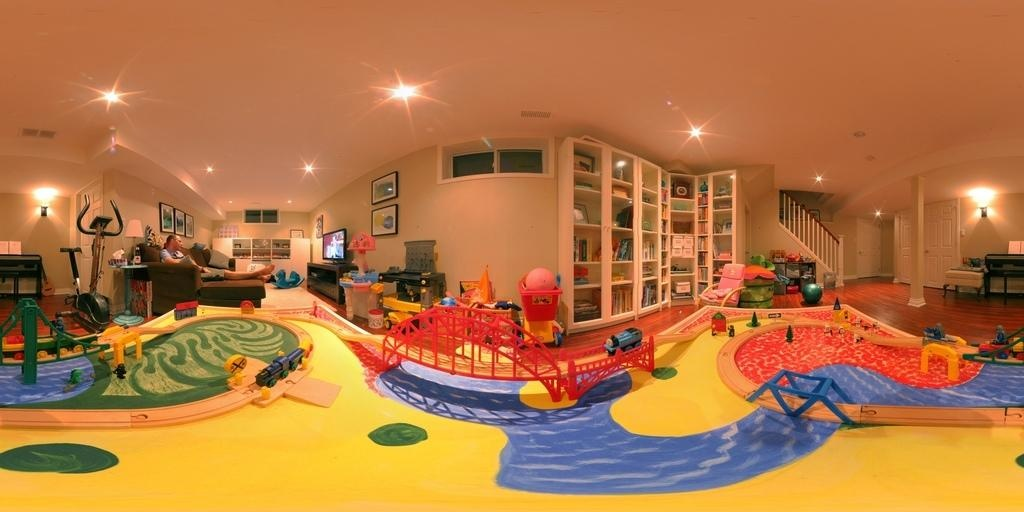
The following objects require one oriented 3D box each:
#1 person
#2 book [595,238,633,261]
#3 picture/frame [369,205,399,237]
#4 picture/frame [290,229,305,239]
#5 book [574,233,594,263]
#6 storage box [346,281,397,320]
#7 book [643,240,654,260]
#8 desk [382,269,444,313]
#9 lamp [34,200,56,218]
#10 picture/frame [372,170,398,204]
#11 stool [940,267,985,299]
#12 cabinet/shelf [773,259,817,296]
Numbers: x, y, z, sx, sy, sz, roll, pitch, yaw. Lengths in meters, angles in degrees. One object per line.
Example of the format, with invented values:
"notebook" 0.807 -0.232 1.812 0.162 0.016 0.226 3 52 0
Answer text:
"person" -5.944 0.101 10.380 1.809 0.810 0.896 1 6 -14
"book" 1.790 -0.107 9.078 0.406 0.318 0.201 13 -3 3
"picture/frame" -2.507 -0.701 10.181 0.788 0.486 0.084 -1 -3 44
"picture/frame" -5.798 -0.605 13.855 0.307 0.207 0.028 2 3 -17
"book" 1.218 -0.122 8.851 0.414 0.418 0.113 3 -4 -39
"storage box" -2.526 0.797 9.134 0.747 0.588 0.377 6 14 26
"book" 2.539 -0.106 9.573 0.135 0.362 0.362 -1 -3 27
"desk" -1.644 0.542 8.882 1.227 0.700 0.746 5 9 28
"lamp" -9.277 -0.938 10.189 0.296 0.309 0.168 1 -3 -19
"picture/frame" -2.470 -1.376 10.118 0.824 0.480 0.083 3 4 42
"stool" 8.764 0.484 9.979 0.650 0.391 0.647 7 13 40
"cabinet/shelf" 5.923 0.465 10.817 0.919 0.527 0.483 1 2 4
